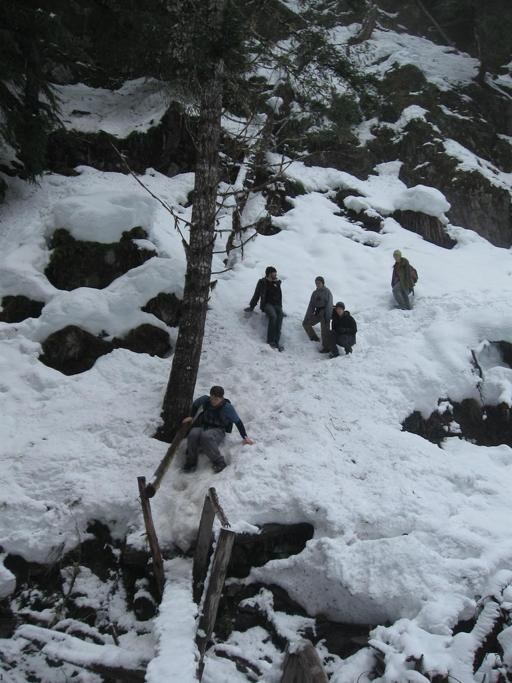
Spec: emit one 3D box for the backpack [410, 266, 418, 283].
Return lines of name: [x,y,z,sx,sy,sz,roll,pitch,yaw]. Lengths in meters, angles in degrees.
backpack: [3.281,-1.382,16.016,0.122,0.322,0.244,-1,-1,20]

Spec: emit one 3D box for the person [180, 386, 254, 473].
person: [-0.647,1.399,11.879,1.110,1.316,0.809,15,17,12]

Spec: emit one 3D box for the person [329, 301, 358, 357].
person: [1.659,-0.204,14.790,0.574,0.948,0.683,13,17,4]

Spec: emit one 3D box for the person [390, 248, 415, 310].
person: [3.062,-1.279,16.109,0.624,1.127,0.597,13,17,5]

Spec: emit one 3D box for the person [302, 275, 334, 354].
person: [1.263,-0.501,14.873,0.408,1.342,0.803,4,18,-25]

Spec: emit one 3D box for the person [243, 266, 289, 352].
person: [0.282,-0.697,14.986,0.676,1.370,1.227,2,18,-28]
